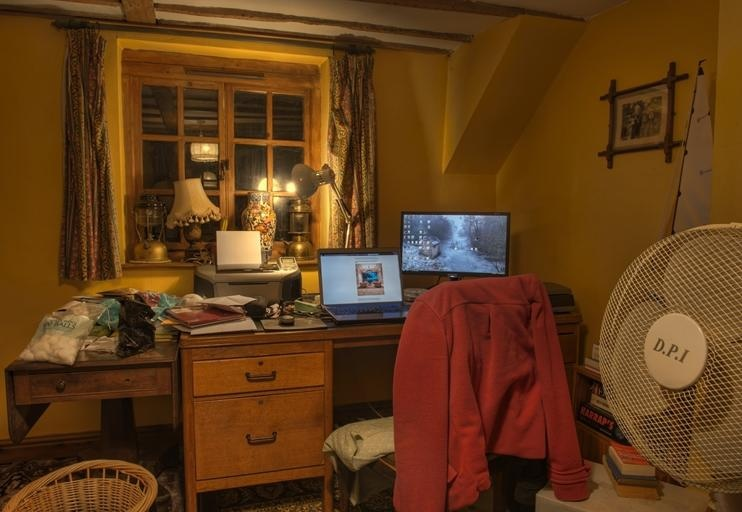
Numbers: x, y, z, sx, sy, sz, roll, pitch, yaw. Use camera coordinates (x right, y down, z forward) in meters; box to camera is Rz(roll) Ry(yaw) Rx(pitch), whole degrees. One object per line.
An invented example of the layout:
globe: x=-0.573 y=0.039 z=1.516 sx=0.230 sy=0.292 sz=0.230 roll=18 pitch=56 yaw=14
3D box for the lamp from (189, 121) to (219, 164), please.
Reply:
lamp: x=-1.140 y=-0.717 z=4.008 sx=0.148 sy=0.155 sz=0.151 roll=-1 pitch=7 yaw=1

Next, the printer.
printer: x=-0.738 y=0.091 z=3.458 sx=0.459 sy=0.338 sz=0.470 roll=0 pitch=0 yaw=-33

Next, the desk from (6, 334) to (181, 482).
desk: x=-1.367 y=0.570 z=3.060 sx=0.866 sy=0.863 sz=0.696 roll=0 pitch=-1 yaw=-19

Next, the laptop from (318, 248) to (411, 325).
laptop: x=-0.049 y=0.145 z=3.293 sx=0.454 sy=0.328 sz=0.394 roll=0 pitch=3 yaw=-17
